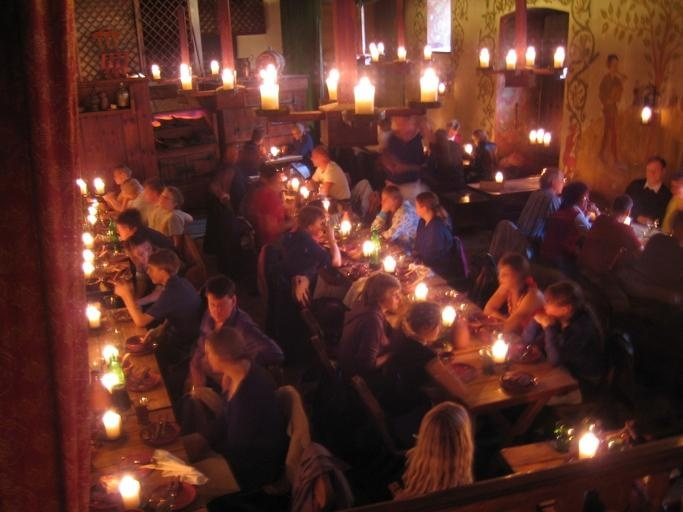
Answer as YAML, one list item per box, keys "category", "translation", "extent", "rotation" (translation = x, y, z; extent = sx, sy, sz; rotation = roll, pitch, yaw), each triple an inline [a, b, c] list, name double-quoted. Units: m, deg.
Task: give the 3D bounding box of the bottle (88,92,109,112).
- category: "bottle"
  translation: [-3.650, -2.312, 8.508]
  extent: [0.319, 0.336, 0.196]
  rotation: [0, 9, -12]

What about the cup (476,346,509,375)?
- category: "cup"
  translation: [1.223, 0.846, 4.559]
  extent: [0.154, 0.163, 0.187]
  rotation: [-2, 7, 3]

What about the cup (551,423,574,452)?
- category: "cup"
  translation: [1.518, 1.227, 3.861]
  extent: [0.129, 0.149, 0.143]
  rotation: [-21, 6, 14]

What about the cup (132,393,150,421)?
- category: "cup"
  translation: [-1.437, 1.110, 4.103]
  extent: [0.117, 0.206, 0.123]
  rotation: [2, 8, 0]

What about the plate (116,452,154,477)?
- category: "plate"
  translation: [-1.328, 1.348, 3.655]
  extent: [0.207, 0.054, 0.266]
  rotation: [-9, 15, -21]

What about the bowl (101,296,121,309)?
- category: "bowl"
  translation: [-2.374, 0.469, 5.864]
  extent: [0.152, 0.164, 0.190]
  rotation: [-2, 11, -21]
